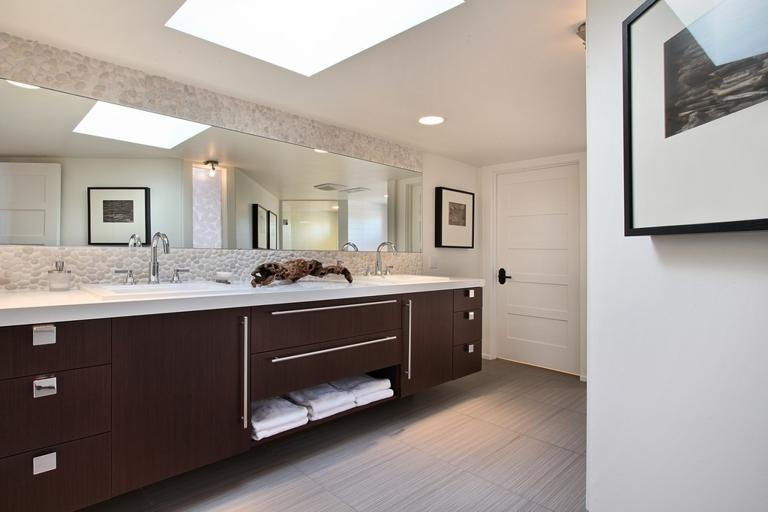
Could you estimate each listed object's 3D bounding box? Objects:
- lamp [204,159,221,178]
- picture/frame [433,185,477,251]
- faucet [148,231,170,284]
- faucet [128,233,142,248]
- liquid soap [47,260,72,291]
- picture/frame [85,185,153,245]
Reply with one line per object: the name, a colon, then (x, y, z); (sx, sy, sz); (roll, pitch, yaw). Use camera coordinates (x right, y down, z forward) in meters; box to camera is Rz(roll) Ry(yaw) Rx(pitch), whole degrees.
lamp: (-1.205, -0.605, 3.328); (0.105, 0.182, 0.095); (2, 0, -6)
picture/frame: (0.720, -0.394, 4.965); (0.090, 0.650, 0.705); (-4, -5, 39)
faucet: (-1.474, 0.006, 3.107); (0.132, 0.315, 0.171); (-3, 8, -24)
faucet: (-1.616, -0.095, 3.078); (0.055, 0.056, 0.087); (3, 5, -7)
liquid soap: (-1.925, 0.116, 2.806); (0.110, 0.160, 0.159); (-5, 9, -37)
picture/frame: (-1.714, -0.261, 3.024); (0.396, 0.420, 0.034); (0, -1, -31)
